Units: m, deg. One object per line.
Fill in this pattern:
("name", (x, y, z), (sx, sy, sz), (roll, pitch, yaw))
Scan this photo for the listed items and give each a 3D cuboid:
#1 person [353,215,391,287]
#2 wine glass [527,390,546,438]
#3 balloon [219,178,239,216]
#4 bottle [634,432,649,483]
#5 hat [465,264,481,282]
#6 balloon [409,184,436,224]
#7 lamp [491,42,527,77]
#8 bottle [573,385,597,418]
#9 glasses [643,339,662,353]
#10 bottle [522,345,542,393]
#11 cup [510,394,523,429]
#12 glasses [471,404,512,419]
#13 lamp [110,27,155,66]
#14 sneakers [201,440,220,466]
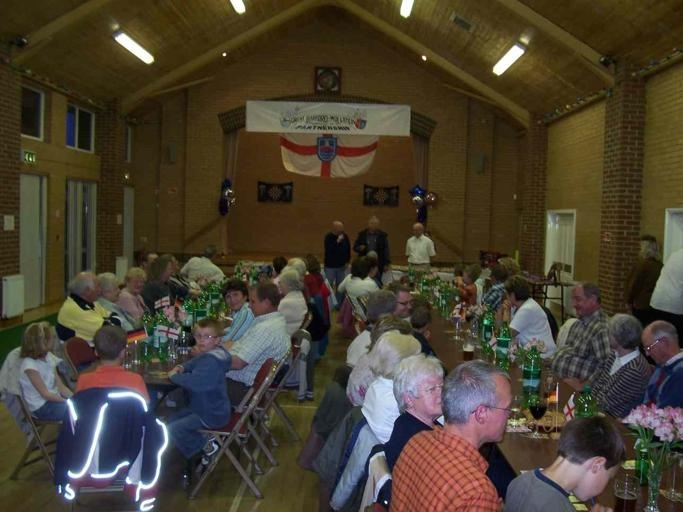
("person", (0.737, 0.142, 12.162), (0.801, 2.058, 0.657), (-2, 32, 3))
("wine glass", (1.308, 1.075, 3.448), (0.124, 0.283, 0.128), (0, 2, 35))
("balloon", (-3.328, -1.709, 14.866), (0.422, 1.099, 0.339), (0, 9, -19))
("bottle", (1.648, 1.124, 2.818), (0.072, 0.270, 0.164), (8, 11, 33))
("hat", (2.060, 0.266, 7.982), (0.192, 0.270, 0.261), (-1, 12, -12))
("balloon", (2.360, -1.481, 14.806), (0.745, 1.159, 0.354), (5, 9, 11))
("lamp", (3.468, -4.086, 10.659), (0.236, 0.288, 1.192), (34, -22, 2))
("bottle", (1.666, 0.979, 3.499), (0.140, 0.234, 0.196), (7, 10, 26))
("glasses", (2.405, 0.697, 3.979), (0.090, 0.028, 0.091), (-30, -12, -3))
("bottle", (1.483, 0.886, 3.998), (0.134, 0.316, 0.344), (6, 10, 22))
("cup", (1.206, 1.104, 3.560), (0.108, 0.201, 0.120), (-1, 3, 12))
("glasses", (0.696, 0.725, 2.387), (0.195, 0.072, 0.025), (0, 9, -21))
("lamp", (-4.535, -4.571, 11.219), (0.460, 0.340, 1.649), (3, 9, -4))
("sneakers", (-1.119, 1.683, 4.424), (0.148, 0.230, 0.077), (15, -1, 31))
